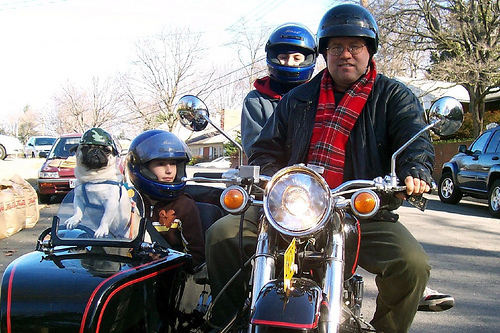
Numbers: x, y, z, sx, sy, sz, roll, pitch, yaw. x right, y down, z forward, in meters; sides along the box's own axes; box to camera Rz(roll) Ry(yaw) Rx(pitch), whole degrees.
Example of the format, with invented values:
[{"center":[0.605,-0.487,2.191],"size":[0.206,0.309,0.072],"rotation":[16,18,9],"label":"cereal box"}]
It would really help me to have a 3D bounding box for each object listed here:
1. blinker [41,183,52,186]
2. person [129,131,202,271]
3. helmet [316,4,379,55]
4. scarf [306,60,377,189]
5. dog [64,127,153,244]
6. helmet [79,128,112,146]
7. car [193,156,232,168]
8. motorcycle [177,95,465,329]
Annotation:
[{"center":[-5.339,0.467,11.261],"size":[0.346,0.079,0.042],"rotation":[3,6,22],"label":"blinker"},{"center":[-0.846,0.298,4.055],"size":[0.803,1.270,0.775],"rotation":[0,-1,-31],"label":"person"},{"center":[0.817,-1.167,3.595],"size":[0.513,0.398,0.349],"rotation":[1,6,8],"label":"helmet"},{"center":[0.786,-0.368,3.716],"size":[0.595,1.069,0.437],"rotation":[0,6,-3],"label":"scarf"},{"center":[-1.095,0.120,3.308],"size":[0.565,0.828,0.336],"rotation":[1,6,11],"label":"dog"},{"center":[-1.232,-0.239,3.425],"size":[0.247,0.136,0.225],"rotation":[-2,6,-19],"label":"helmet"},{"center":[-3.318,-0.377,36.736],"size":[2.934,1.072,1.377],"rotation":[2,1,-18],"label":"car"},{"center":[0.432,0.409,3.586],"size":[1.392,1.490,2.224],"rotation":[-1,-6,16],"label":"motorcycle"}]
